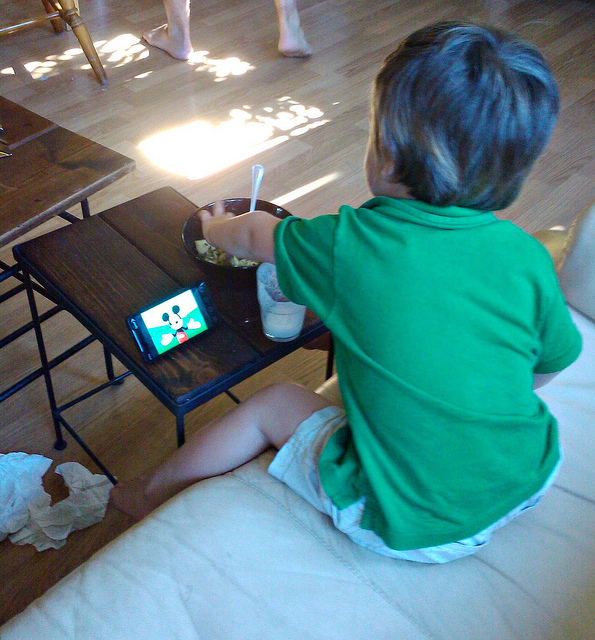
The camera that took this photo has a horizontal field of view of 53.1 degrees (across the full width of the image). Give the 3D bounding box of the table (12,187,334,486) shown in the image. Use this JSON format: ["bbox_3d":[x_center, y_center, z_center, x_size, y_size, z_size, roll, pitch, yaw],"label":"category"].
[{"bbox_3d":[-0.262,0.050,1.149,0.468,0.494,0.555,-33,58,-27],"label":"table"}]

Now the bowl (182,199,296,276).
[{"bbox_3d":[-0.118,-0.167,1.079,0.203,0.065,0.184,-26,51,-26],"label":"bowl"}]
